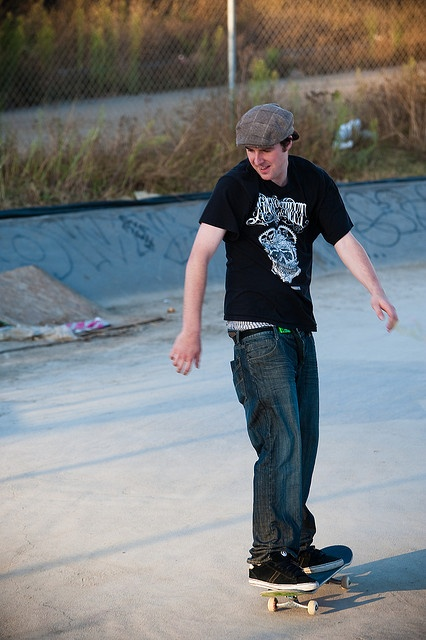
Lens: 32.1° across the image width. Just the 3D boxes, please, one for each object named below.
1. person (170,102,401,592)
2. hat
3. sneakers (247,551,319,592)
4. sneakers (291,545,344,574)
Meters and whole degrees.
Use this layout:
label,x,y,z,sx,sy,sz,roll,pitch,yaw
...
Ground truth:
label,x,y,z,sx,sy,sz,roll,pitch,yaw
person,0.233,0.074,2.669,0.701,1.669,0.851,3,16,19
hat,0.184,-0.686,2.621,0.198,0.149,0.175,-1,14,3
sneakers,0.224,0.852,2.516,0.283,0.117,0.094,-3,-10,34
sneakers,0.368,0.848,2.615,0.177,0.070,0.067,-7,3,5
